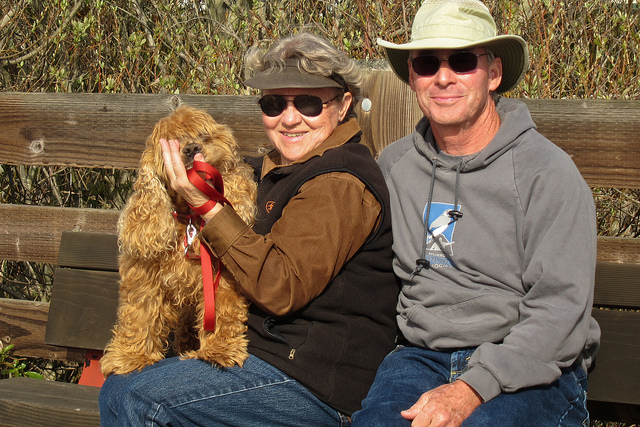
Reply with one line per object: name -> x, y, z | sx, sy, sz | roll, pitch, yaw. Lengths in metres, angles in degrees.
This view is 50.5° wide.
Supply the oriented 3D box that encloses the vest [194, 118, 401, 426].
vest -> -0.331, 0.284, 4.554 | 1.381, 1.857, 1.521 | 0, 4, -14
